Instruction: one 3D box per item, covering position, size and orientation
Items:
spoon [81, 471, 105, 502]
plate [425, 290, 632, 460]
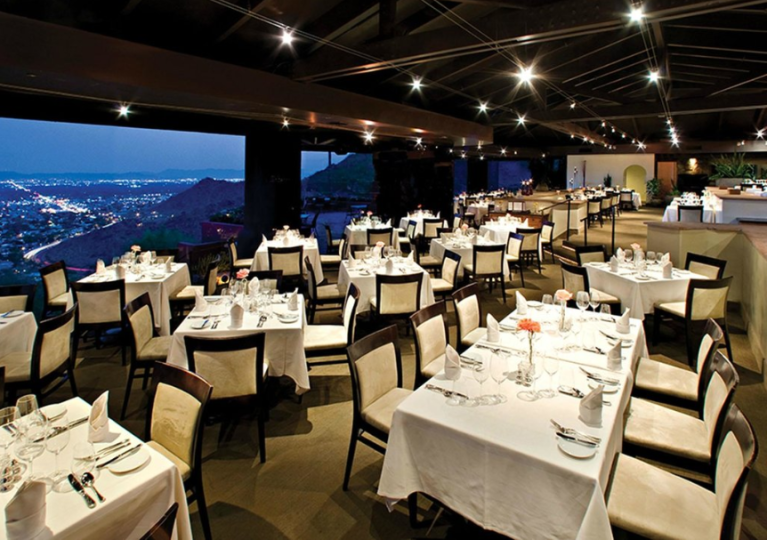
[{"bbox_3d":[-1.901,1.431,3.302,0.081,0.063,0.398,-5,17,-34],"label":"spoon"},{"bbox_3d":[1.520,0.744,4.527,1.168,0.292,1.227,7,23,28],"label":"plate"}]
